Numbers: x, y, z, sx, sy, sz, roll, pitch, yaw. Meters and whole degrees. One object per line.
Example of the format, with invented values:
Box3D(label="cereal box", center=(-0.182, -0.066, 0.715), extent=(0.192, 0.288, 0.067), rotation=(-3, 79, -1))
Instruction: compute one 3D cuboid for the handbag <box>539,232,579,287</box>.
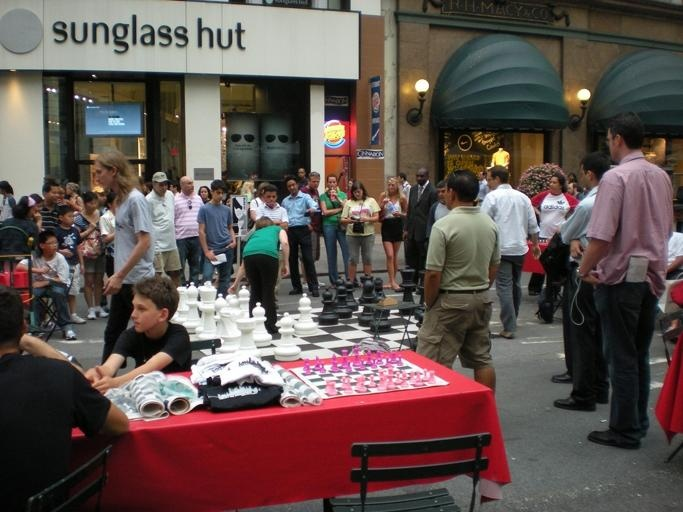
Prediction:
Box3D(label="handbag", center=(2.112, 0.080, 6.702), extent=(0.330, 0.589, 0.396), rotation=(-1, 8, -13))

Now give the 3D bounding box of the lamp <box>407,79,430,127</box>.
Box3D(label="lamp", center=(1.902, -3.853, 17.337), extent=(0.608, 1.159, 1.194), rotation=(-1, 7, 6))

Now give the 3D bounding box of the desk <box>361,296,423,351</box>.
Box3D(label="desk", center=(0.529, 0.688, 7.873), extent=(0.540, 0.566, 0.530), rotation=(-4, 9, -43))

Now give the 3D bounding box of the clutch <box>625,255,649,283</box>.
Box3D(label="clutch", center=(2.184, 0.086, 5.152), extent=(0.145, 0.230, 0.118), rotation=(3, 13, 3))

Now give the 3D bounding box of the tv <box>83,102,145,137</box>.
Box3D(label="tv", center=(-5.133, -3.055, 15.641), extent=(1.254, 0.706, 0.270), rotation=(-2, 7, 0))
